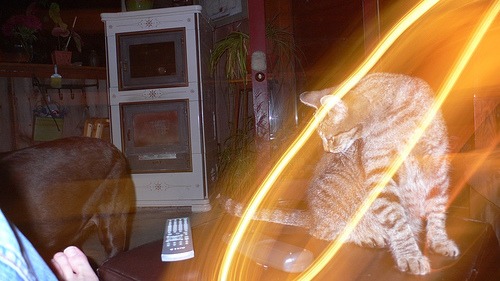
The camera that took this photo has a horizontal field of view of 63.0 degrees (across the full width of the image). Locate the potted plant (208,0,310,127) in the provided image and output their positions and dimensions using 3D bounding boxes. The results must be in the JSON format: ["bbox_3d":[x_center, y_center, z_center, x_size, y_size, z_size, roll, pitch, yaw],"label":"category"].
[{"bbox_3d":[-0.004,-0.764,3.963,1.148,1.078,0.899,3,16,22],"label":"potted plant"}]

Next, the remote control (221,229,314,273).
[{"bbox_3d":[0.109,0.565,2.082,0.333,0.063,0.173,15,28,34],"label":"remote control"}]

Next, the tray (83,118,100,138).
[{"bbox_3d":[-1.457,-0.115,3.827,0.046,0.181,0.188,18,-10,-43],"label":"tray"}]

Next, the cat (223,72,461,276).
[{"bbox_3d":[0.606,0.152,2.393,0.820,0.614,1.001,0,1,-9],"label":"cat"}]

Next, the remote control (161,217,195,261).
[{"bbox_3d":[-0.397,0.525,2.232,0.163,0.043,0.310,-6,27,-11],"label":"remote control"}]

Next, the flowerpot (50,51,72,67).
[{"bbox_3d":[-1.819,-0.790,3.989,0.196,0.138,0.162,5,5,19],"label":"flowerpot"}]

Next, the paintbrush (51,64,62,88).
[{"bbox_3d":[-1.854,-0.611,3.894,0.082,0.197,0.168,-3,6,-18],"label":"paintbrush"}]
